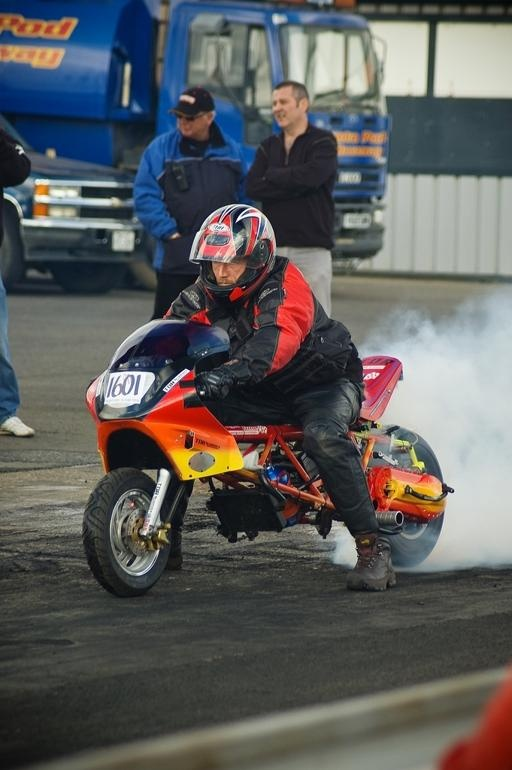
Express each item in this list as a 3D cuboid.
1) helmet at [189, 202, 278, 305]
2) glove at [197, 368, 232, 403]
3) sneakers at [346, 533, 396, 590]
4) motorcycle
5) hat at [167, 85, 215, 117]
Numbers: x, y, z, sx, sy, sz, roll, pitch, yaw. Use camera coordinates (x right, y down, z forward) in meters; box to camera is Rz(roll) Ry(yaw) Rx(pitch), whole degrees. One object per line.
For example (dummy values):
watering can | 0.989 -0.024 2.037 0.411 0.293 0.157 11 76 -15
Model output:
helmet | -0.048 -0.538 3.415 0.329 0.324 0.417 6 39 33
glove | -0.155 0.006 3.012 0.091 0.119 0.057 41 4 13
sneakers | 0.491 0.756 3.569 0.130 0.236 0.356 -11 -8 26
motorcycle | -0.271 0.327 4.124 1.896 1.114 2.139 0 -2 43
hat | -0.480 -2.067 6.057 0.314 0.170 0.201 -4 15 -36
